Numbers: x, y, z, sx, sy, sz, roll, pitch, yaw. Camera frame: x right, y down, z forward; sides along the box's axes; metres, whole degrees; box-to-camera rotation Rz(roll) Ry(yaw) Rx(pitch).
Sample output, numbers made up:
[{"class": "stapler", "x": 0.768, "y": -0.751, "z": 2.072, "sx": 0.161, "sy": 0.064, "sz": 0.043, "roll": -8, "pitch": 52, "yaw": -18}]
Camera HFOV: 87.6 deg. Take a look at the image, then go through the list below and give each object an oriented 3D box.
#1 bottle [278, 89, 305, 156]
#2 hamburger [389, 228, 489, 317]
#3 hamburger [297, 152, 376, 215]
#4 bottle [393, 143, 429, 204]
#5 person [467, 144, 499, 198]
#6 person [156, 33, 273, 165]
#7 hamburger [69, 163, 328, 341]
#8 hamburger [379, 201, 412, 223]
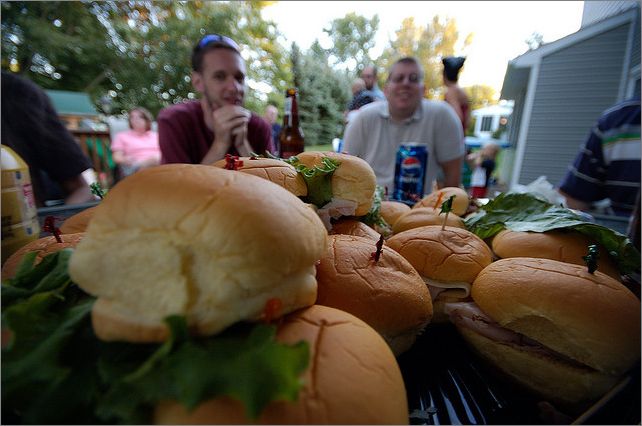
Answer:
[{"class": "bottle", "x": -0.167, "y": -0.513, "z": 1.882, "sx": 0.136, "sy": 0.358, "sz": 0.255, "roll": -1, "pitch": 18, "yaw": -5}, {"class": "hamburger", "x": 0.328, "y": 0.138, "z": 0.961, "sx": 0.257, "sy": 0.154, "sz": 0.249, "roll": -1, "pitch": 5, "yaw": 1}, {"class": "hamburger", "x": 0.036, "y": -0.076, "z": 1.018, "sx": 0.289, "sy": 0.208, "sz": 0.200, "roll": 5, "pitch": 10, "yaw": 21}, {"class": "bottle", "x": 0.460, "y": -0.199, "z": 1.730, "sx": 0.161, "sy": 0.301, "sz": 0.272, "roll": 5, "pitch": 18, "yaw": 13}, {"class": "person", "x": 2.613, "y": -0.695, "z": 5.465, "sx": 0.422, "sy": 0.906, "sz": 1.126, "roll": 9, "pitch": 19, "yaw": 22}, {"class": "person", "x": -0.653, "y": -0.665, "z": 1.980, "sx": 0.557, "sy": 0.724, "sz": 0.659, "roll": 3, "pitch": 18, "yaw": 7}, {"class": "hamburger", "x": -0.213, "y": 0.074, "z": 0.613, "sx": 0.337, "sy": 0.235, "sz": 0.351, "roll": 2, "pitch": -4, "yaw": 26}, {"class": "hamburger", "x": 0.282, "y": -0.009, "z": 1.254, "sx": 0.099, "sy": 0.048, "sz": 0.095, "roll": -1, "pitch": 4, "yaw": -6}]
